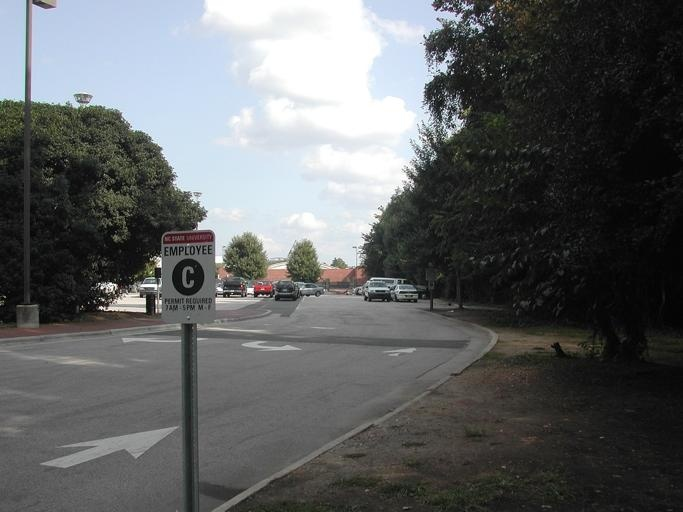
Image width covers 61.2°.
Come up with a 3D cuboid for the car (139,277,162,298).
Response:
[{"bbox_3d":[-15.562,2.542,46.894,1.668,1.754,4.007,0,-6,-6],"label":"car"}]
